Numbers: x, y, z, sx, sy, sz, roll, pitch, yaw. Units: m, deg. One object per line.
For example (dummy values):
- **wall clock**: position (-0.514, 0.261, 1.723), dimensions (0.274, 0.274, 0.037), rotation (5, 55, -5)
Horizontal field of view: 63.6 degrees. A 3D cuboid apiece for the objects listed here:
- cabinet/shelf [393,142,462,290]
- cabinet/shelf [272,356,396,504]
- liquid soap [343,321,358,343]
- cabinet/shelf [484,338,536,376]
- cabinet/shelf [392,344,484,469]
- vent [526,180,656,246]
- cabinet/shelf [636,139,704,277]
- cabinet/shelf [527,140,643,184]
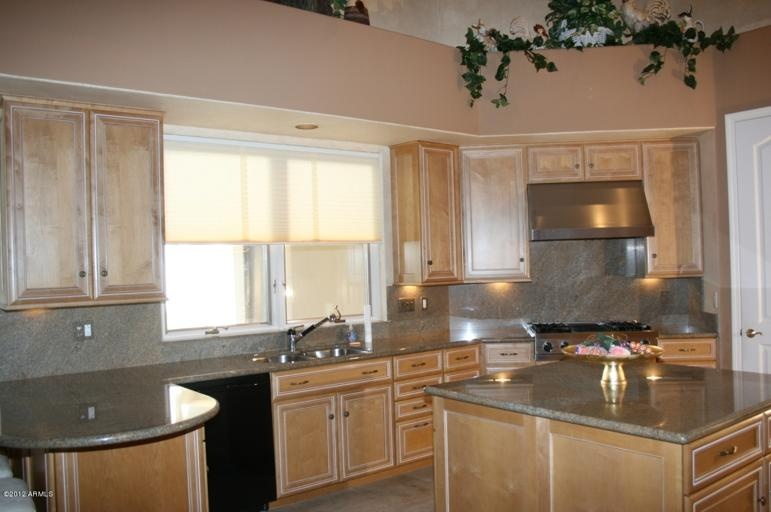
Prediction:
- **cabinet/shelf**: position (0.421, -0.413, 6.358), dimensions (0.750, 1.362, 0.560), rotation (-2, 0, -31)
- **cabinet/shelf**: position (-0.581, 1.463, 5.478), dimensions (0.547, 1.009, 1.349), rotation (-7, -7, 42)
- **liquid soap**: position (-0.335, 0.737, 6.007), dimensions (0.149, 0.178, 0.088), rotation (-3, 5, -13)
- **cabinet/shelf**: position (1.211, 0.977, 6.238), dimensions (0.595, 0.459, 0.301), rotation (-1, -1, -1)
- **cabinet/shelf**: position (0.433, 1.426, 6.074), dimensions (1.345, 1.089, 0.508), rotation (1, -7, -41)
- **vent**: position (2.028, -0.479, 6.227), dimensions (1.191, 0.432, 0.545), rotation (-2, 29, 4)
- **cabinet/shelf**: position (2.901, -0.477, 6.259), dimensions (0.568, 1.338, 0.145), rotation (-2, 5, 1)
- **cabinet/shelf**: position (1.990, -0.948, 6.417), dimensions (1.284, 0.383, 0.323), rotation (-3, 3, -12)
